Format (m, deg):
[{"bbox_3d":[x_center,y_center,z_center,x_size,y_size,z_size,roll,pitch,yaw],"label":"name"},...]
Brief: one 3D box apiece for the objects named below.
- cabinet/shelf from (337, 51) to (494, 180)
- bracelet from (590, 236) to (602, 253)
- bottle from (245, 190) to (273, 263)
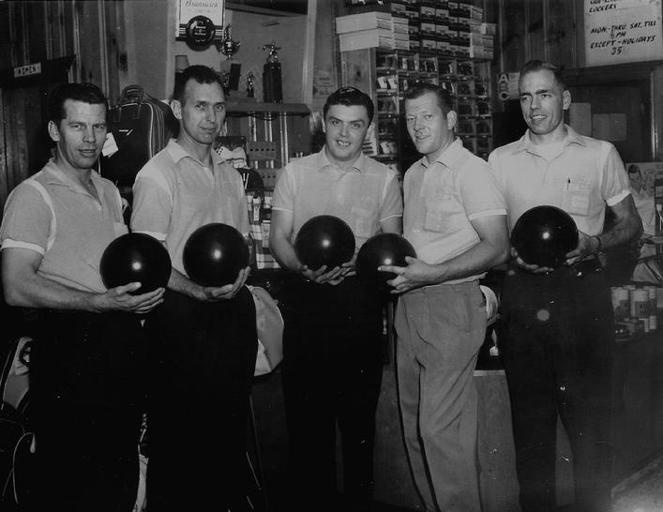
[{"bbox_3d":[1.257,-1.795,7.618,1.421,1.407,0.471,-3,13,2],"label":"cabinet/shelf"},{"bbox_3d":[1.285,-0.059,2.976,0.027,0.073,0.063,2,-14,0],"label":"bracelet"},{"bbox_3d":[-0.501,-0.185,4.356,0.298,0.431,0.122,-4,0,-23],"label":"bottle"}]
